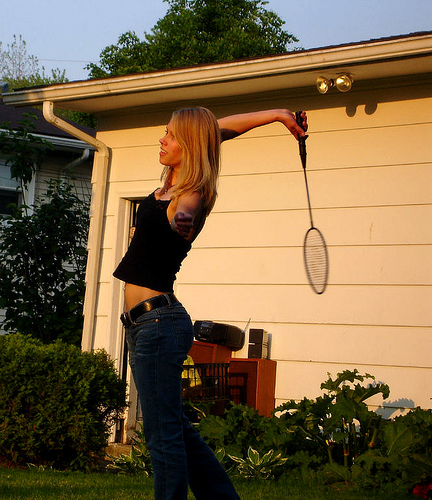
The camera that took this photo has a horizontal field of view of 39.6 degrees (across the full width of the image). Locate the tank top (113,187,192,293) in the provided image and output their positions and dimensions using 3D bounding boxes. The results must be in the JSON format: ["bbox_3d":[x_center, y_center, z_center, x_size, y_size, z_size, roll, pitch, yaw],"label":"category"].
[{"bbox_3d":[-0.254,-0.034,2.332,0.271,0.411,0.237,3,4,-23],"label":"tank top"}]

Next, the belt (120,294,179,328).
[{"bbox_3d":[-0.256,0.211,2.345,0.148,0.150,0.192,3,1,35],"label":"belt"}]

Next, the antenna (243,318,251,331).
[{"bbox_3d":[0.303,0.723,5.828,0.019,0.144,0.020,34,7,-17],"label":"antenna"}]

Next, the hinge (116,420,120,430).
[{"bbox_3d":[-1.036,1.844,6.311,0.028,0.087,0.069,0,-11,9],"label":"hinge"}]
